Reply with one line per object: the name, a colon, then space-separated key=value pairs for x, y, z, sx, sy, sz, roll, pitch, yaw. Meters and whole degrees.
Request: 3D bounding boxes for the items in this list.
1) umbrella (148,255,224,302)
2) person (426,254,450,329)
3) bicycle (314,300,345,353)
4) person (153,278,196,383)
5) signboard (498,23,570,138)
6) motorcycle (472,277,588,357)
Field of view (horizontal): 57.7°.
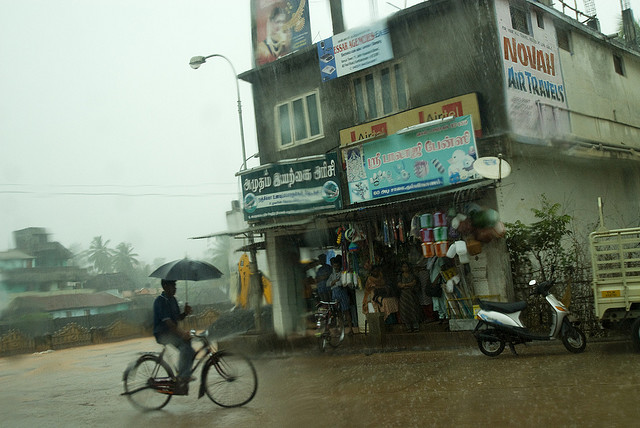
umbrella: x=-2.977 y=1.291 z=13.027 sx=1.535 sy=0.930 sz=0.766 roll=-5 pitch=0 yaw=-20
person: x=3.506 y=2.285 z=17.204 sx=0.683 sy=2.083 sz=0.564 roll=-1 pitch=0 yaw=0
bicycle: x=0.320 y=3.561 z=18.616 sx=0.906 sy=1.587 sz=1.024 roll=-5 pitch=0 yaw=-2
person: x=-3.139 y=2.539 z=12.830 sx=0.954 sy=2.394 sz=1.142 roll=-3 pitch=0 yaw=-37
signboard: x=6.805 y=-4.418 z=18.395 sx=3.729 sy=3.946 sz=0.060 roll=0 pitch=-7 yaw=-40
motorcycle: x=5.073 y=2.591 z=14.418 sx=2.462 sy=1.762 sz=0.567 roll=-5 pitch=0 yaw=20
